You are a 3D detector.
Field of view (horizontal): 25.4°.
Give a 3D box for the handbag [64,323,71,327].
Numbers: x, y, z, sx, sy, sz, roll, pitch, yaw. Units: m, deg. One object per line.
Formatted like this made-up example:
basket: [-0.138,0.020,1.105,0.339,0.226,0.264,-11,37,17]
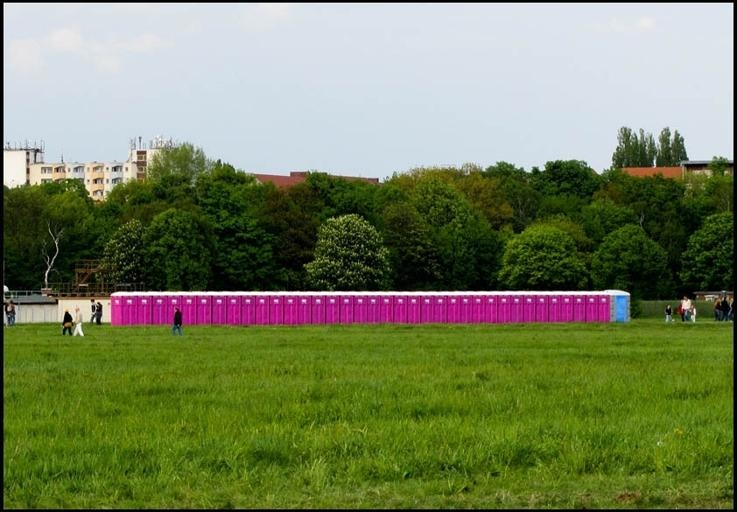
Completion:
handbag: [-18.396,4.450,100.760,0.282,0.310,0.094,1,3,-9]
